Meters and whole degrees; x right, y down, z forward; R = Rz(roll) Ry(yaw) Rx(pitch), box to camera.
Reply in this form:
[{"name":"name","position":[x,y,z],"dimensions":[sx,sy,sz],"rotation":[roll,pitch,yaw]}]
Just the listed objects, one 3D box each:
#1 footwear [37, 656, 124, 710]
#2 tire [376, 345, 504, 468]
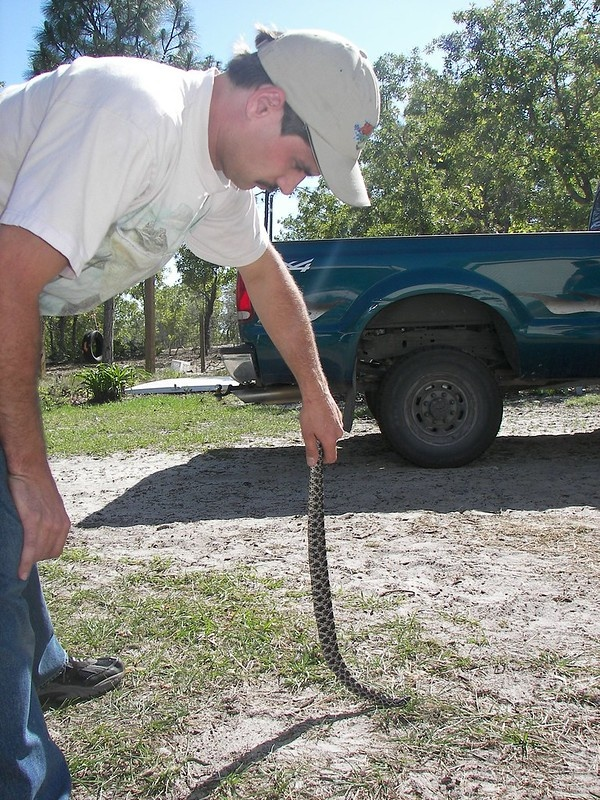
[{"name":"footwear","position":[-0.696,0.887,2.478],"dimensions":[0.282,0.111,0.099],"rotation":[-9,5,-27]},{"name":"tire","position":[0.964,0.021,5.385],"dimensions":[0.781,0.686,0.254],"rotation":[18,17,0]}]
